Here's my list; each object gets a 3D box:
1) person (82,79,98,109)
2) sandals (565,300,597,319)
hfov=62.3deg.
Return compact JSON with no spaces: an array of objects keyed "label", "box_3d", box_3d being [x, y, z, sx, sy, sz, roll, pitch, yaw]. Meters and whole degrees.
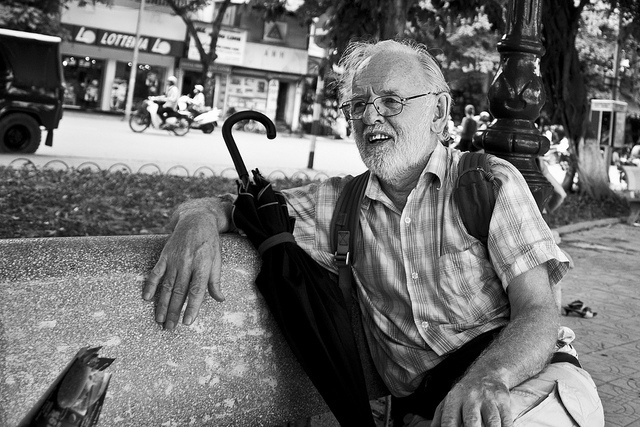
[{"label":"person","box_3d":[-13.129,-6.923,30.307,0.822,1.653,0.713,1,11,-26]},{"label":"sandals","box_3d":[2.765,1.016,5.616,0.228,0.089,0.177,1,13,11]}]
